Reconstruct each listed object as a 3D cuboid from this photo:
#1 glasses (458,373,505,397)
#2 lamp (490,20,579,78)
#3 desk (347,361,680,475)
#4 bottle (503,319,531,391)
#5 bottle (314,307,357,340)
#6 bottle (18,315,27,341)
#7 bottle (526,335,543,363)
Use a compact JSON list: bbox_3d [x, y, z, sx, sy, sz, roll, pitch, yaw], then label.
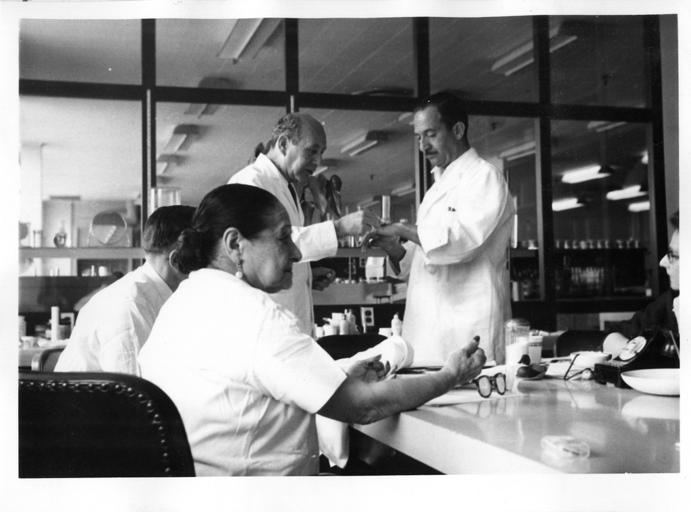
[{"bbox_3d":[0.439,0.419,2.243,0.102,0.045,0.083,-10,-9,36],"label":"glasses"},{"bbox_3d":[1.368,-1.497,5.017,0.630,0.369,0.216,0,-4,-18],"label":"lamp"},{"bbox_3d":[0.576,0.532,2.091,0.888,0.219,0.643,0,-5,-19],"label":"desk"},{"bbox_3d":[0.679,0.380,2.621,0.104,0.268,0.105,11,4,-1],"label":"bottle"},{"bbox_3d":[-0.069,0.431,4.273,0.229,0.144,0.139,-3,-4,5],"label":"bottle"},{"bbox_3d":[-1.908,0.409,4.078,0.030,0.119,0.151,0,-4,-22],"label":"bottle"},{"bbox_3d":[0.709,0.352,2.607,0.046,0.097,0.118,-2,-4,19],"label":"bottle"}]
